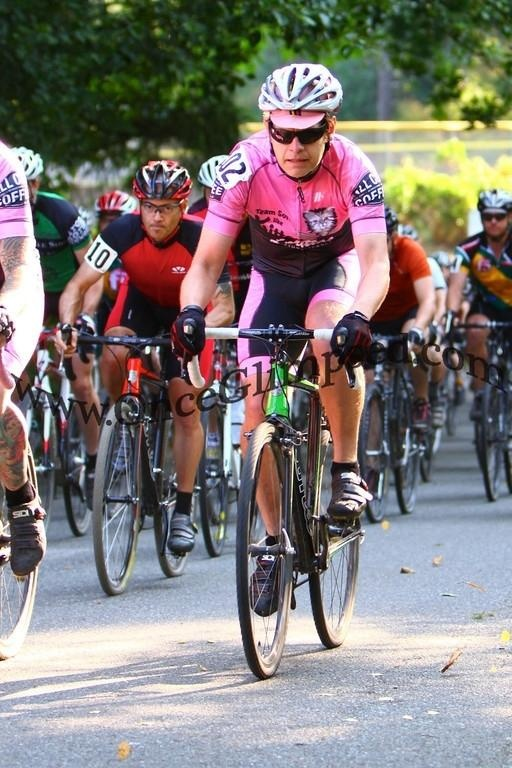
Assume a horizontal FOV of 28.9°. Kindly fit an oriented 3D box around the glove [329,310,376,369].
[{"bbox_3d":[0.280,-0.137,2.957,0.117,0.169,0.199,0,-1,5],"label":"glove"}]

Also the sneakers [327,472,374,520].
[{"bbox_3d":[0.317,0.382,3.393,0.141,0.161,0.280,0,-1,6],"label":"sneakers"}]

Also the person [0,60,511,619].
[{"bbox_3d":[0.185,-0.163,3.568,1.108,1.830,1.471,-1,-1,41],"label":"person"}]

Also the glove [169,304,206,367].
[{"bbox_3d":[-0.202,-0.156,3.050,0.100,0.176,0.164,0,-1,-2],"label":"glove"}]

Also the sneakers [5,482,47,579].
[{"bbox_3d":[-0.763,0.488,3.365,0.107,0.299,0.127,-11,-31,-4],"label":"sneakers"}]
